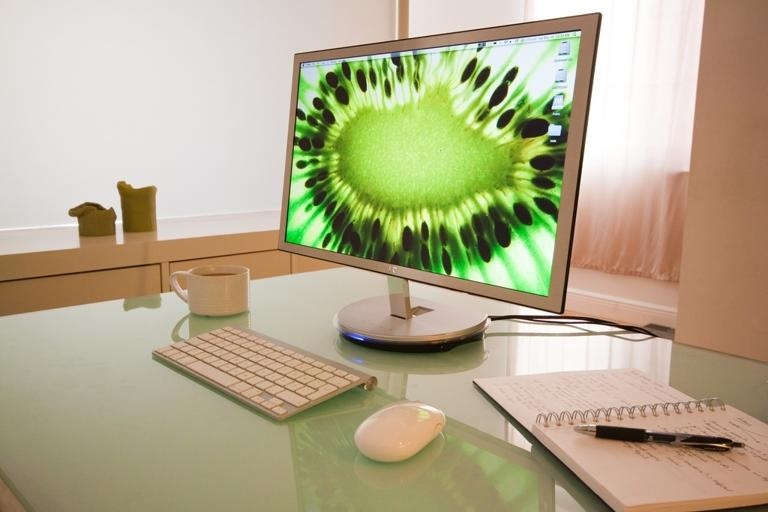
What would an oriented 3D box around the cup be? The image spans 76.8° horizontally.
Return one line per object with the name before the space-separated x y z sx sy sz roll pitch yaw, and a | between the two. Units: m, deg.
cup | -0.429 0.076 1.177 0.169 0.092 0.126 0 7 2
